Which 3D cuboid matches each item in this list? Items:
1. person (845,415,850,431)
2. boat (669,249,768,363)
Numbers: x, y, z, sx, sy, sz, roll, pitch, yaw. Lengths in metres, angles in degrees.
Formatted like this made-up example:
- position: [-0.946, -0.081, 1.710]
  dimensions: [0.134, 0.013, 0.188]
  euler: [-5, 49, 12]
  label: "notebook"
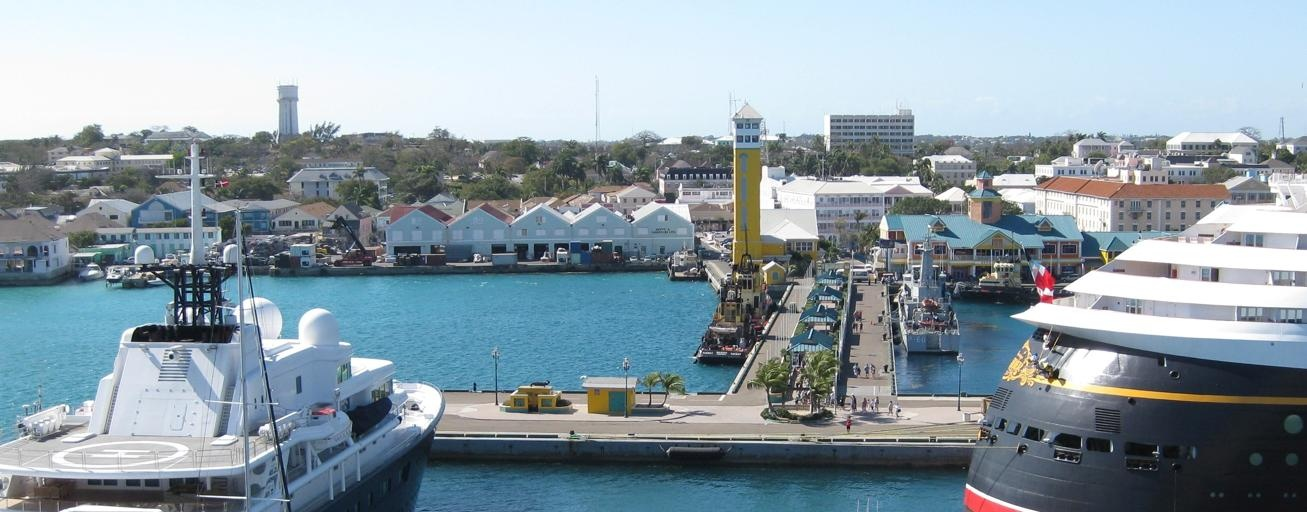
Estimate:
- position: [15.520, 13.191, 119.475]
  dimensions: [0.509, 0.977, 1.052]
  euler: [-2, 6, 8]
  label: "person"
- position: [7.250, 4.725, 134.201]
  dimensions: [5.514, 8.058, 12.148]
  euler: [-2, 5, 10]
  label: "boat"
